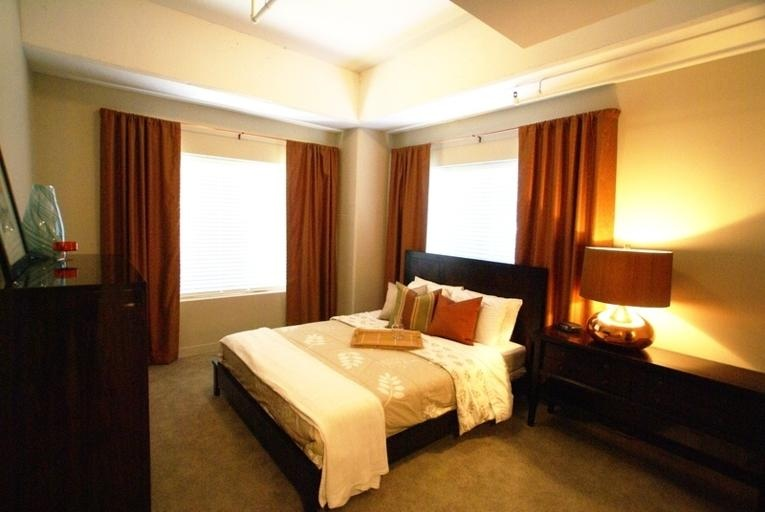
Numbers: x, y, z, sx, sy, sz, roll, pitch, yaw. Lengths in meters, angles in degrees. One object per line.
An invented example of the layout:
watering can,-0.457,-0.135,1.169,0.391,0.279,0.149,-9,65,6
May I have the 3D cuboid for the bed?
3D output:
bed,0.184,0.906,4.886,2.387,1.537,2.278,-9,16,-35
